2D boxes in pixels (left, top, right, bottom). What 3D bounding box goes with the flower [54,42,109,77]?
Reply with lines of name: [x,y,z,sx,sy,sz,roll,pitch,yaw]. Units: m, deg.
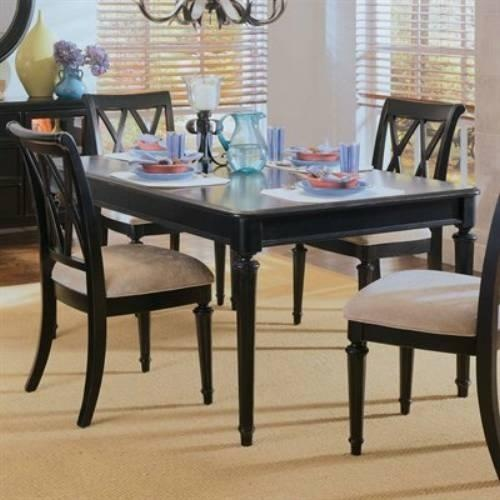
flower: [-1.092,-1.253,3.804,0.296,0.156,0.224,16,-17,-39]

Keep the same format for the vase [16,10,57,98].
vase: [-1.403,-1.276,3.808,0.256,0.579,0.241,-5,13,-18]

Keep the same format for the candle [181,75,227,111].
candle: [-0.171,-0.546,2.079,0.137,0.100,0.138,6,10,38]

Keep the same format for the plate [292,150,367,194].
plate: [0.244,-0.204,1.630,0.164,0.072,0.190,4,8,25]
